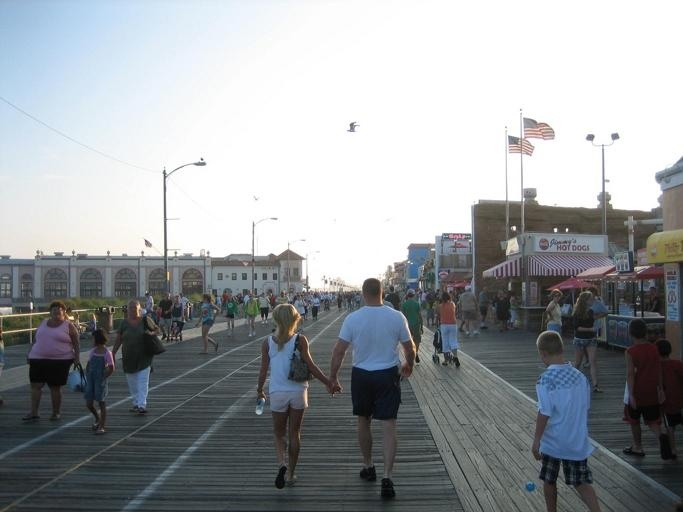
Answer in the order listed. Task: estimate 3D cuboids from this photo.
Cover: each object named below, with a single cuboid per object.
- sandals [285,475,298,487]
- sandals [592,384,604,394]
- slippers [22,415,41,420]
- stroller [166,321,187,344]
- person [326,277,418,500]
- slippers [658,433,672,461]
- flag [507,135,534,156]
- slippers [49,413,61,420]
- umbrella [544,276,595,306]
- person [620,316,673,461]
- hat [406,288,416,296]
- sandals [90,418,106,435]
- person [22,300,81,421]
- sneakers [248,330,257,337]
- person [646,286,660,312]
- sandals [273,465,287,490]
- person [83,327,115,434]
[{"bbox_3d":[-0.648,2.897,8.521,0.080,0.103,0.249,1,8,3],"label":"sandals"},{"bbox_3d":[5.240,2.729,13.652,0.112,0.151,0.321,1,3,12],"label":"sandals"},{"bbox_3d":[-5.357,2.795,11.489,0.235,0.098,0.158,-4,-3,9],"label":"slippers"},{"bbox_3d":[-6.678,3.049,26.999,0.468,0.717,1.122,3,-1,-5],"label":"stroller"},{"bbox_3d":[0.399,1.649,8.646,0.963,2.683,0.751,-4,-3,35],"label":"person"},{"bbox_3d":[4.457,2.643,9.231,0.120,0.430,0.156,-9,-7,12],"label":"slippers"},{"bbox_3d":[9.372,-5.799,35.064,1.258,1.216,1.006,-4,-3,21],"label":"flag"},{"bbox_3d":[-4.975,2.779,11.582,0.172,0.148,0.290,-1,-4,-25],"label":"slippers"},{"bbox_3d":[8.151,1.258,23.844,1.231,1.029,1.352,-3,5,-8],"label":"umbrella"},{"bbox_3d":[4.240,1.869,9.288,0.620,1.962,0.527,-2,-3,6],"label":"person"},{"bbox_3d":[1.841,0.992,17.704,0.155,0.264,0.594,8,2,7],"label":"hat"},{"bbox_3d":[-3.918,2.775,10.745,0.108,0.157,0.345,5,13,-15],"label":"sandals"},{"bbox_3d":[-5.077,1.846,11.793,0.988,2.038,0.865,-2,-3,-8],"label":"person"},{"bbox_3d":[-3.886,3.414,28.817,0.183,0.311,0.667,0,-14,7],"label":"sneakers"},{"bbox_3d":[9.797,1.393,20.863,0.372,0.758,1.947,-4,-3,25],"label":"person"},{"bbox_3d":[-0.750,2.772,8.343,0.131,0.321,0.116,8,-10,-5],"label":"sandals"},{"bbox_3d":[-3.934,2.034,10.911,0.574,1.649,0.487,-5,-4,43],"label":"person"}]
